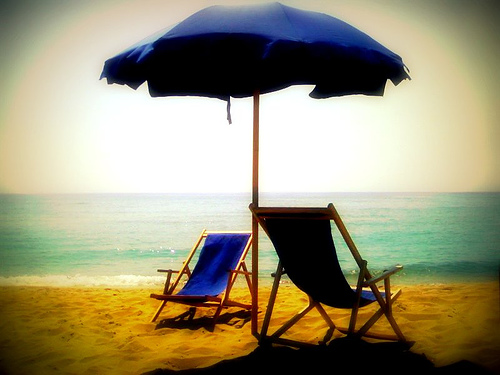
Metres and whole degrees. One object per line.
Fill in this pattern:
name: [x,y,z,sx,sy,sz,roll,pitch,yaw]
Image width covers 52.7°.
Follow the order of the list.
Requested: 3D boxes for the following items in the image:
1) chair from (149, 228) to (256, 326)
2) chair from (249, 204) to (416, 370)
chair: [-0.779,1.546,8.872,1.315,1.517,1.787,-3,-4,23]
chair: [1.171,1.535,8.700,2.134,2.778,2.991,-5,-5,41]
